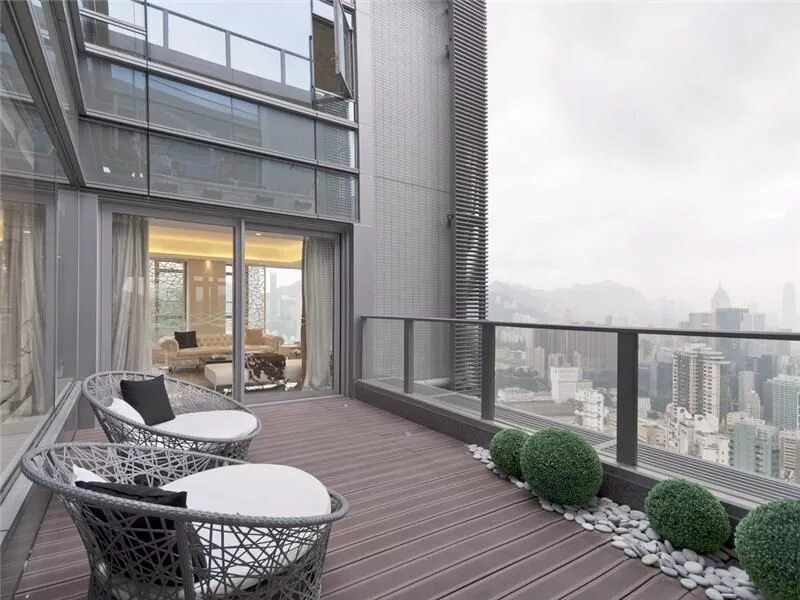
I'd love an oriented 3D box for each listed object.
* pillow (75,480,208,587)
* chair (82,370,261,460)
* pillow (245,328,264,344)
[{"bbox_3d":[-1.234,1.160,2.362,0.491,0.533,0.160,5,7,14],"label":"pillow"},{"bbox_3d":[-1.774,0.947,3.849,1.188,0.575,0.966,7,-2,-10],"label":"chair"},{"bbox_3d":[-1.855,0.461,6.306,0.209,0.196,0.071,1,-3,-31],"label":"pillow"}]
